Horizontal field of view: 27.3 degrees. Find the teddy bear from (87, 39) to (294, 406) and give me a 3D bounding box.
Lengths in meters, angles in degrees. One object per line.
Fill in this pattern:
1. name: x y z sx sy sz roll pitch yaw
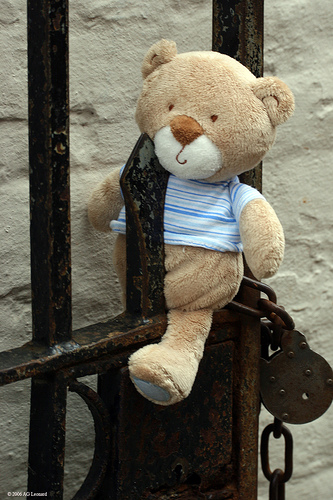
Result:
1. teddy bear: 0.044 -0.059 0.798 0.228 0.357 0.396 -3 18 -7
